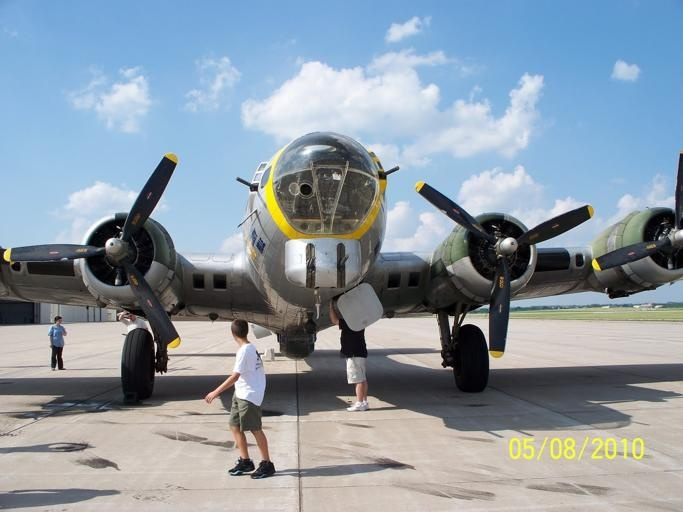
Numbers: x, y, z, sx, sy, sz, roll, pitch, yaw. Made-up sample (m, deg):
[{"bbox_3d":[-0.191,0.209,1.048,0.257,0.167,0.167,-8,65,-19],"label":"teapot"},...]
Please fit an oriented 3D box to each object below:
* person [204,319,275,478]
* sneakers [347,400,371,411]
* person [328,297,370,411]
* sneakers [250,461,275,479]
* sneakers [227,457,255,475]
[{"bbox_3d":[-1.304,1.884,7.938,0.771,2.051,0.564,1,-5,-25],"label":"person"},{"bbox_3d":[0.333,2.711,10.783,0.466,0.184,0.165,-2,-1,1],"label":"sneakers"},{"bbox_3d":[0.162,1.814,11.075,0.676,2.006,1.410,-2,-4,1],"label":"person"},{"bbox_3d":[-1.021,2.794,7.855,0.331,0.212,0.177,0,-4,-15],"label":"sneakers"},{"bbox_3d":[-1.306,2.803,7.908,0.439,0.211,0.150,0,2,-23],"label":"sneakers"}]
